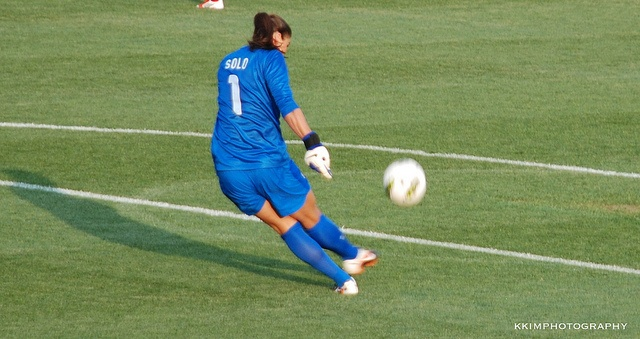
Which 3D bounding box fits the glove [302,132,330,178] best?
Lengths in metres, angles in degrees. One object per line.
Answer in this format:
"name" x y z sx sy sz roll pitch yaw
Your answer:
"glove" -0.053 -0.279 20.459 0.502 0.746 0.501 4 3 0
